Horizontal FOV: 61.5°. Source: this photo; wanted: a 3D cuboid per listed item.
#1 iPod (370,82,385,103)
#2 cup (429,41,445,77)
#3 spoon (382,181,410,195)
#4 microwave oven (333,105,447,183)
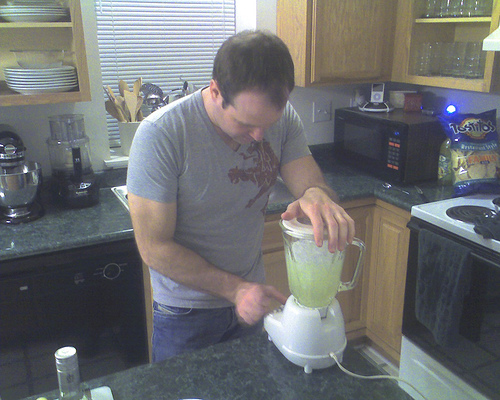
[{"bbox_3d":[0.790,-0.675,2.600,0.076,0.113,0.151,5,22,19],"label":"iPod"},{"bbox_3d":[1.050,-0.794,2.383,0.060,0.219,0.045,2,-18,23],"label":"cup"},{"bbox_3d":[0.785,-0.075,2.276,0.043,0.017,0.147,-6,23,-34],"label":"spoon"},{"bbox_3d":[0.821,-0.365,2.586,0.351,0.344,0.642,-8,21,-25],"label":"microwave oven"}]
